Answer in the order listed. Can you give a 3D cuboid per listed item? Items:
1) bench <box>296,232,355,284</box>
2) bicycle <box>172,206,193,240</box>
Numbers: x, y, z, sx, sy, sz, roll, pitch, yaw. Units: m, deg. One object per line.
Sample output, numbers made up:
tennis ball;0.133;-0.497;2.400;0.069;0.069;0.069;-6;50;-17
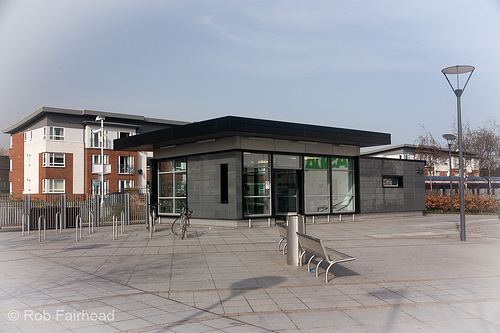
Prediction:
bench;2.185;2.582;13.443;1.036;1.204;2.003;-2;5;-18
bicycle;-2.961;2.487;19.822;0.551;1.146;2.189;15;-18;-20
